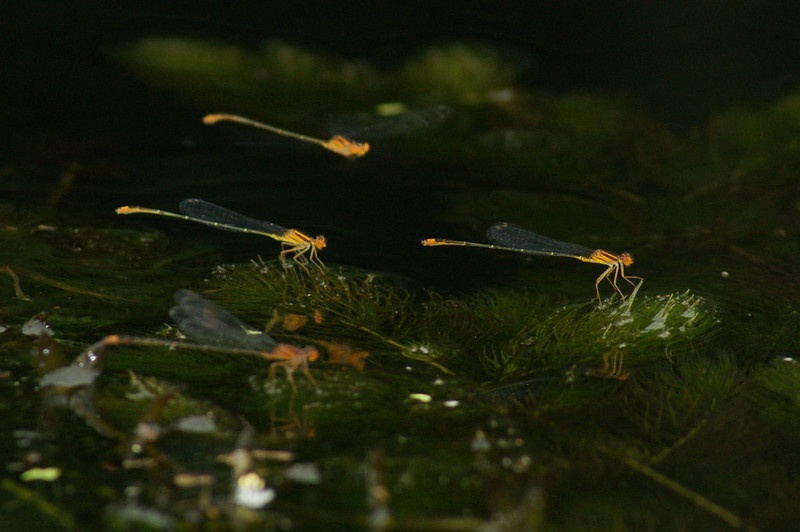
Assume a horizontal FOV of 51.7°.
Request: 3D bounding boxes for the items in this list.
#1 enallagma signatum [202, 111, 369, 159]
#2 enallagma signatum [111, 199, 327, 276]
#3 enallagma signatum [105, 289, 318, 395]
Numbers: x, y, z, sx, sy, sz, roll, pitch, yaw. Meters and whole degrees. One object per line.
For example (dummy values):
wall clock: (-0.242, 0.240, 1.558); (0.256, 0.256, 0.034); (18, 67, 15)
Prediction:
enallagma signatum: (-0.315, -0.373, 2.309); (0.502, 0.051, 0.055); (9, 71, -4)
enallagma signatum: (-0.456, -0.077, 2.314); (0.685, 0.165, 0.184); (11, 45, 5)
enallagma signatum: (-0.408, 0.186, 1.989); (0.433, 0.113, 0.134); (13, 23, -6)
